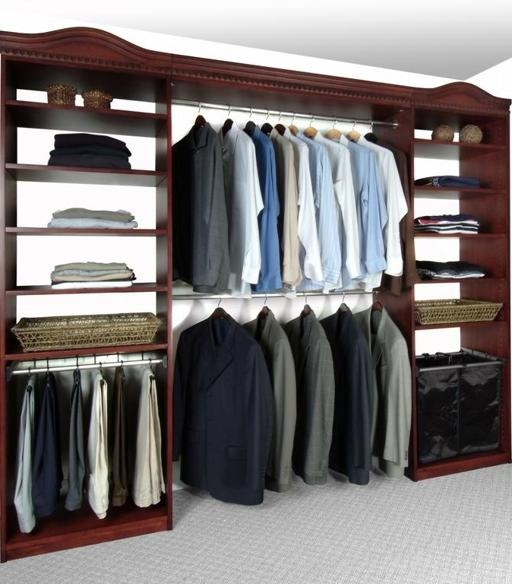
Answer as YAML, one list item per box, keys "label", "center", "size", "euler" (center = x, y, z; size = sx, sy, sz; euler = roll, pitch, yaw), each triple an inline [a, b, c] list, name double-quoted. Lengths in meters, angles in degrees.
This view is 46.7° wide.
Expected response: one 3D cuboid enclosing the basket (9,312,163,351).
- label: "basket"
  center: [-0.737, 0.178, 2.671]
  size: [0.441, 0.107, 0.280]
  euler: [-3, 6, -19]
